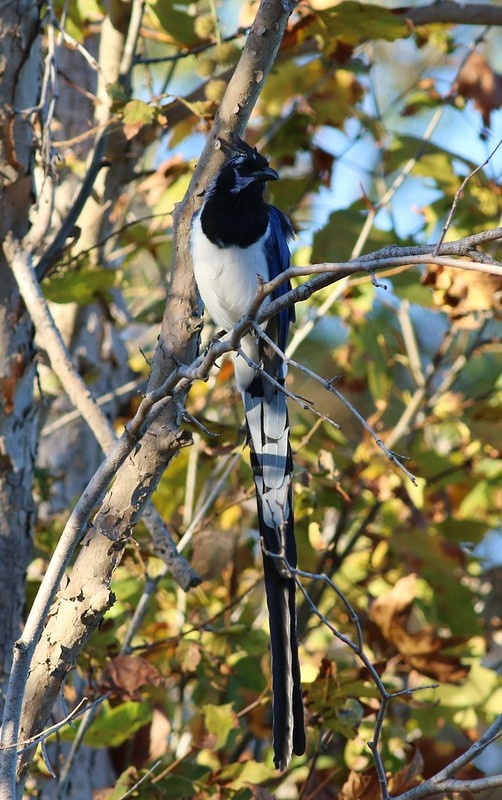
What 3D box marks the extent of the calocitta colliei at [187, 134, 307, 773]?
[{"bbox_3d":[-0.022,0.222,3.605,0.256,0.934,2.603,-3,-93,1],"label":"calocitta colliei"}]
